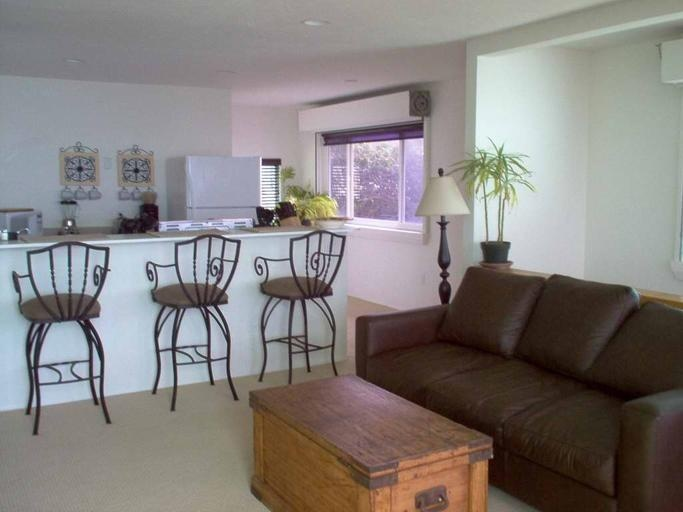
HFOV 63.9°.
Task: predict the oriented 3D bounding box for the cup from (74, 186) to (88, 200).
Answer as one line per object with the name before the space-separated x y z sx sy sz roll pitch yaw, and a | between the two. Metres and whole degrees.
cup | -3.049 -0.737 6.453 0.091 0.168 0.165 0 10 -25

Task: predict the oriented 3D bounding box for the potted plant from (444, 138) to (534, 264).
potted plant | 1.383 -0.441 4.954 0.606 1.136 0.703 7 -9 -42

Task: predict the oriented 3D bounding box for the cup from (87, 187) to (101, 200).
cup | -2.925 -0.743 6.521 0.135 0.259 0.135 2 11 0

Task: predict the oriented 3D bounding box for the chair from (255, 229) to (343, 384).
chair | -0.299 0.390 4.590 0.858 1.261 0.760 -5 14 -20

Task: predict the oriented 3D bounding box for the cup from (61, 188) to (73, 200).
cup | -3.191 -0.720 6.387 0.143 0.143 0.079 -1 2 -31

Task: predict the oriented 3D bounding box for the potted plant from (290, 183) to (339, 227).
potted plant | -0.403 -0.764 8.015 0.754 0.402 0.800 3 8 -10

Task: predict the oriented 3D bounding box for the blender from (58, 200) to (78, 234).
blender | -3.148 -0.434 6.382 0.195 0.493 0.189 1 18 -18

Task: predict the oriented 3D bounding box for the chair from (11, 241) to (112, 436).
chair | -1.929 0.499 3.858 0.646 1.275 0.638 -6 15 -25

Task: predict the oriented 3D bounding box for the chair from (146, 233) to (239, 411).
chair | -1.110 0.453 4.218 0.730 1.281 0.673 -4 14 -18

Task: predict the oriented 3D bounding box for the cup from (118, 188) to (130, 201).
cup | -2.629 -0.740 6.732 0.159 0.168 0.122 -2 11 -34

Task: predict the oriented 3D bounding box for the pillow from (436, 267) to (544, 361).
pillow | 1.032 0.366 3.764 0.166 0.562 0.607 27 -7 -35
